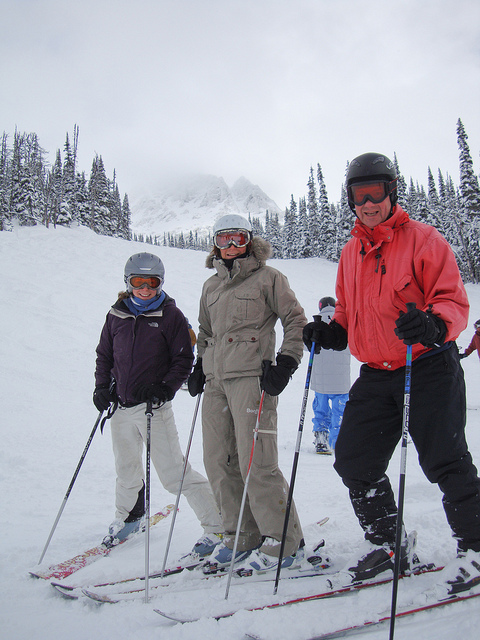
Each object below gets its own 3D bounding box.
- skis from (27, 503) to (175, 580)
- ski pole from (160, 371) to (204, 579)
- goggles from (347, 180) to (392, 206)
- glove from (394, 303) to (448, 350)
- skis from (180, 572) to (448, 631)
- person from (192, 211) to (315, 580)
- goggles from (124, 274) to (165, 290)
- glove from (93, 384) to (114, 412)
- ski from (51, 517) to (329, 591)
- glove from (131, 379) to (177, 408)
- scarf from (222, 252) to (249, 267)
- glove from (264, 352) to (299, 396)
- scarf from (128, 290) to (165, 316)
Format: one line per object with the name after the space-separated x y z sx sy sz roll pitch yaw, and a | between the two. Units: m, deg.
-0.893 1.492 4.420 0.210 0.123 1.776 -1 0 21 | skis
-0.438 1.187 4.574 0.024 1.286 0.094 4 -12 30 | ski pole
0.762 -0.774 3.701 0.251 0.100 0.086 -2 2 33 | goggles
0.961 0.045 3.293 0.251 0.200 0.117 20 -8 -30 | glove
0.446 1.568 3.371 0.906 0.117 0.265 -7 -2 -17 | skis
-0.019 0.405 3.978 0.865 1.877 0.971 -3 2 18 | person
-0.722 -0.293 4.598 0.287 0.100 0.142 -4 2 -12 | goggles
-1.011 0.569 4.520 0.140 0.192 0.070 -26 -29 32 | glove
-0.306 1.519 3.928 1.673 0.089 0.175 -10 -14 -9 | ski
-0.605 0.505 4.229 0.243 0.098 0.188 8 -2 -35 | glove
-0.022 -0.432 4.277 0.166 0.079 0.205 -4 2 -15 | scarf
0.260 0.340 3.873 0.185 0.254 0.107 27 -10 3 | glove
-0.707 -0.120 4.582 0.277 0.150 0.140 -3 2 -6 | scarf
